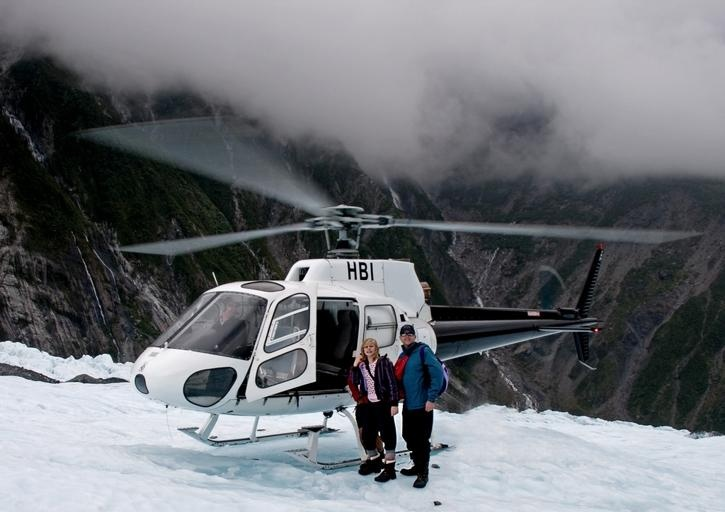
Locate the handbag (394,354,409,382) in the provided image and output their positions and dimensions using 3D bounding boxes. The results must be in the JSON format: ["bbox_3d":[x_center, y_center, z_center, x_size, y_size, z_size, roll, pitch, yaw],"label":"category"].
[{"bbox_3d":[0.939,2.754,13.336,0.200,0.526,0.436,13,-5,-2],"label":"handbag"}]

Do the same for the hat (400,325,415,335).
[{"bbox_3d":[1.116,1.850,13.464,0.365,0.153,0.448,-1,-2,4],"label":"hat"}]
